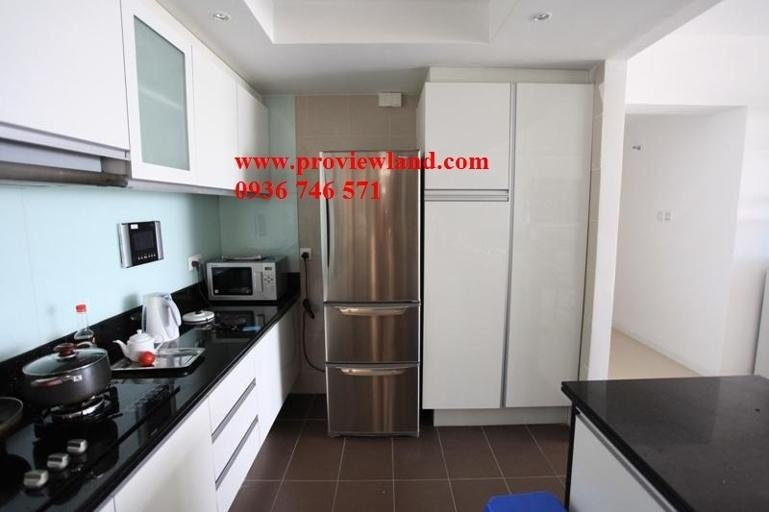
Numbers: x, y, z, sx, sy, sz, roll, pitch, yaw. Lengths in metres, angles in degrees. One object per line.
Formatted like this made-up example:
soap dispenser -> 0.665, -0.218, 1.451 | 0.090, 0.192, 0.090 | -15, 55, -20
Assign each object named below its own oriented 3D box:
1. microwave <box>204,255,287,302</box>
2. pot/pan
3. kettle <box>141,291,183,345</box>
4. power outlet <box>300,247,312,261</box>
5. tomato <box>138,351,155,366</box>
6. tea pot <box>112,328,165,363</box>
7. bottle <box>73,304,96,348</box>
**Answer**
microwave -> -1.066, 0.201, 3.931 | 0.505, 0.315, 0.136 | -3, 6, -15
pot/pan -> -1.522, 0.589, 2.591 | 0.249, 0.163, 0.395 | 1, 2, -6
kettle -> -1.364, 0.388, 3.214 | 0.328, 0.306, 0.206 | 4, 5, 12
power outlet -> -0.657, -0.015, 4.396 | 0.094, 0.107, 0.050 | -3, 6, -12
tomato -> -1.343, 0.580, 2.949 | 0.094, 0.076, 0.071 | -3, 6, -11
tea pot -> -1.408, 0.513, 3.007 | 0.282, 0.184, 0.158 | 1, -1, -27
bottle -> -1.659, 0.391, 2.899 | 0.104, 0.254, 0.216 | -5, 7, -29
